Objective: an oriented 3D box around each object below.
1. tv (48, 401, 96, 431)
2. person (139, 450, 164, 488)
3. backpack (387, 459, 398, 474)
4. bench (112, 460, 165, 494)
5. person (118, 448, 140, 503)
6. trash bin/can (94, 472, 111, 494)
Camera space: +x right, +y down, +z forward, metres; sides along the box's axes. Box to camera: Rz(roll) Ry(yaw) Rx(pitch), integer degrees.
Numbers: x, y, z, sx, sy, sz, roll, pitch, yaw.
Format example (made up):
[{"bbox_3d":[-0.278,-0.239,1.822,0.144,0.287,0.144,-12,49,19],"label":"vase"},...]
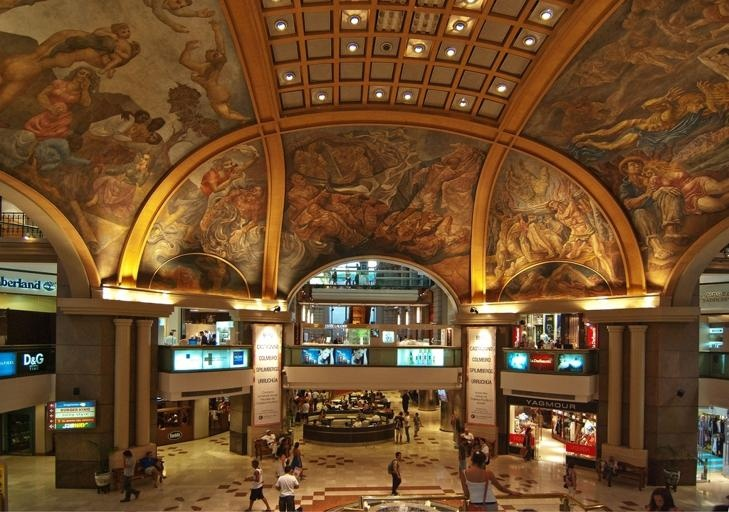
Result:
[{"bbox_3d":[-10.353,5.663,19.101,1.224,0.668,0.149,1,-2,-5],"label":"tv"},{"bbox_3d":[-7.868,7.924,19.895,0.864,1.310,1.071,-14,-17,31],"label":"person"},{"bbox_3d":[1.006,7.629,19.310,0.288,0.490,0.690,-1,-9,2],"label":"backpack"},{"bbox_3d":[-8.172,7.961,19.375,0.584,0.822,1.393,-2,-9,22],"label":"bench"},{"bbox_3d":[-8.212,7.685,19.007,0.563,1.525,1.278,4,-11,-23],"label":"person"},{"bbox_3d":[-9.133,8.002,18.943,0.714,0.657,0.610,2,-2,-6],"label":"trash bin/can"}]
